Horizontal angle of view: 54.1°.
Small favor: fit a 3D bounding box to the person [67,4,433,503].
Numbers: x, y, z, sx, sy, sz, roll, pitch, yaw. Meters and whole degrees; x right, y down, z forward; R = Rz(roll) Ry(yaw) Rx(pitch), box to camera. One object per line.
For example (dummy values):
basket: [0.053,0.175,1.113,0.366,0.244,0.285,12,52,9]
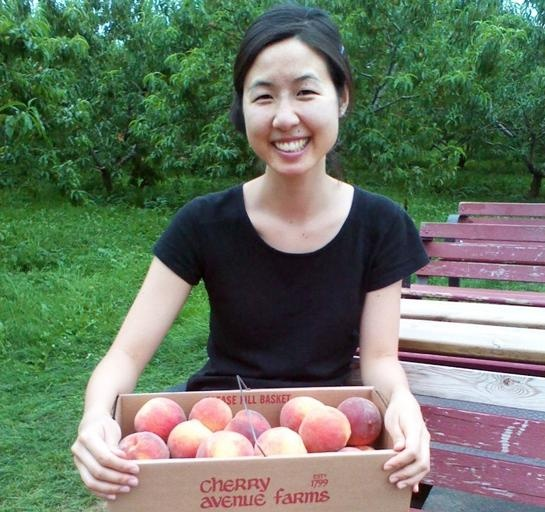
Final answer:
person: [-0.012,0.015,1.558,0.745,1.631,0.854,0,11,5]
